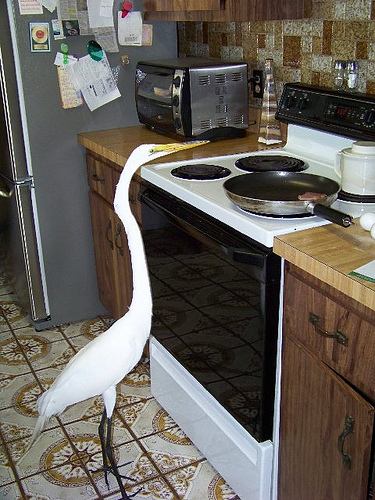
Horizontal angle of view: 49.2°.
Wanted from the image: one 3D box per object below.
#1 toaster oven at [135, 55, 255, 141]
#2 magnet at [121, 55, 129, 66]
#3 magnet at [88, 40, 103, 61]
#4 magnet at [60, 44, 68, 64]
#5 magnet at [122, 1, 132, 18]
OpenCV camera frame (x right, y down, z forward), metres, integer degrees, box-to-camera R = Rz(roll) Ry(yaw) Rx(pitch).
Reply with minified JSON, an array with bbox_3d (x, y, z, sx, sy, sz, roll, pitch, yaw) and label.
[{"bbox_3d":[0.012,-0.669,1.811,0.355,0.296,0.460,-15,30,-23],"label":"toaster oven"},{"bbox_3d":[-0.300,-0.915,1.980,0.044,0.047,0.010,-23,30,-39],"label":"magnet"},{"bbox_3d":[-0.415,-0.915,1.878,0.057,0.076,0.016,-24,29,-18],"label":"magnet"},{"bbox_3d":[-0.550,-0.882,1.848,0.008,0.080,0.035,18,31,40],"label":"magnet"},{"bbox_3d":[-0.272,-1.109,1.890,0.041,0.068,0.015,5,39,-21],"label":"magnet"}]
